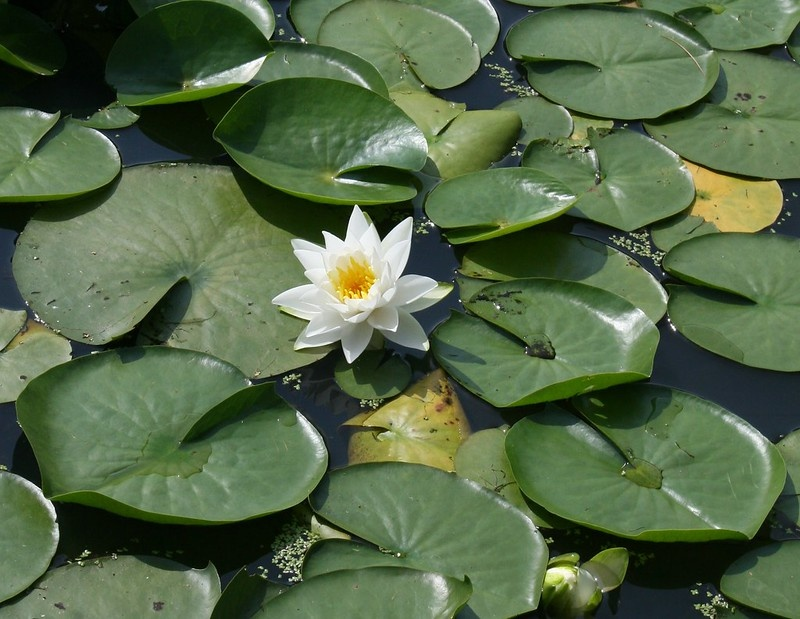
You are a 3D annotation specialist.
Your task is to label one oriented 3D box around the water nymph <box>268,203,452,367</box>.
[{"bbox_3d":[-0.097,-0.074,2.922,0.475,0.264,0.504,17,66,12],"label":"water nymph"}]
